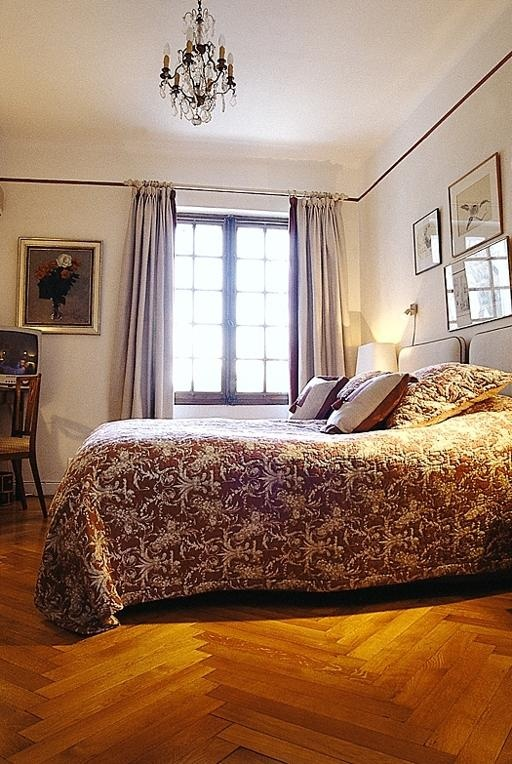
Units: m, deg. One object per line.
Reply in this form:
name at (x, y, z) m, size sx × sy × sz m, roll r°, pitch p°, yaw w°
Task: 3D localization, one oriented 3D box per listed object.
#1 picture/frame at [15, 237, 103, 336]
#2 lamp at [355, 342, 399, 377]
picture/frame at (-1.595, -0.734, 4.436) m, size 0.732 × 0.921 × 0.064 m, roll 1°, pitch -4°, yaw -6°
lamp at (0.880, -0.163, 4.091) m, size 0.251 × 0.274 × 0.336 m, roll 0°, pitch -2°, yaw -3°
